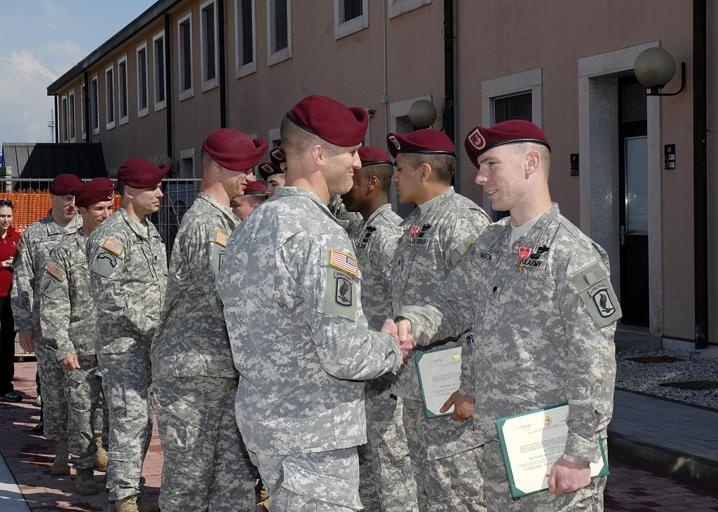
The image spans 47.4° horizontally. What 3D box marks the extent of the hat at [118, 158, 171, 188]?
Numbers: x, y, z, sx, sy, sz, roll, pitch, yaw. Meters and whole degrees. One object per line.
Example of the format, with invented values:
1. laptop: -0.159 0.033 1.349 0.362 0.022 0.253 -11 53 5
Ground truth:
1. hat: -1.762 -0.648 6.666 0.333 0.138 0.264 3 35 -2

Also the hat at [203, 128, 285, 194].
1. hat: -0.867 -0.685 5.824 0.416 0.552 0.429 7 28 -18

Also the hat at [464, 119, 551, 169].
1. hat: 0.830 -0.668 4.686 0.366 0.159 0.289 -10 -13 -7

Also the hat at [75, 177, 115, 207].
1. hat: -2.404 -0.587 7.447 0.287 0.129 0.250 -14 23 3

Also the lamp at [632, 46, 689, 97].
1. lamp: 3.883 -2.367 10.585 0.641 0.638 0.509 -2 1 7

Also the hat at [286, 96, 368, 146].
1. hat: -0.164 -0.694 4.414 0.356 0.149 0.283 24 24 -10

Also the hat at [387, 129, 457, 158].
1. hat: 0.437 -0.807 5.847 0.318 0.135 0.256 2 -2 5
